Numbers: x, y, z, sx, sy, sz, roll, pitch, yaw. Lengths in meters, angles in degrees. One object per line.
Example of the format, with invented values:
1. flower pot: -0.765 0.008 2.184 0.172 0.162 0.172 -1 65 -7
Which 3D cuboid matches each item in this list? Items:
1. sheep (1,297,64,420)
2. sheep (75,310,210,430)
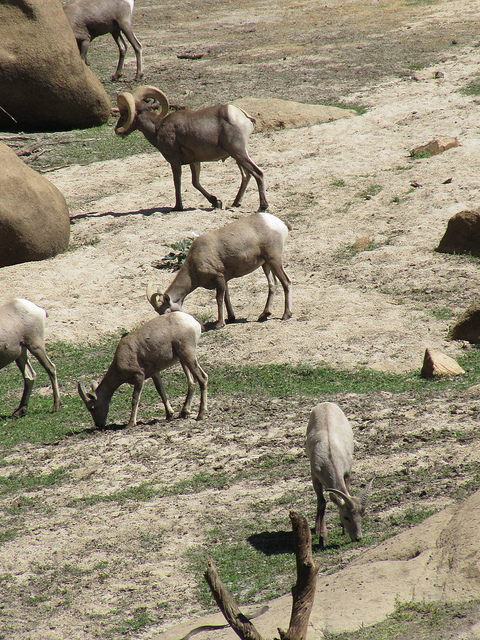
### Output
1. sheep: -2.668 0.512 16.907 0.653 1.408 0.715 -9 24 -11
2. sheep: -1.146 0.646 16.671 1.492 1.312 1.403 -5 24 -1
